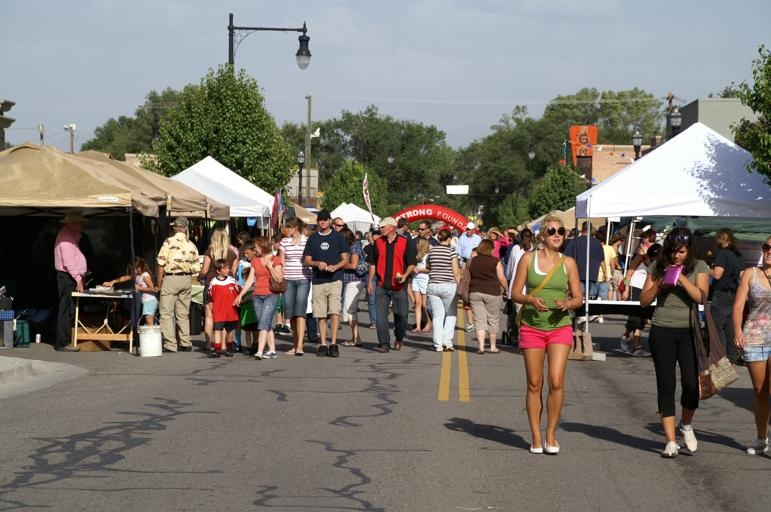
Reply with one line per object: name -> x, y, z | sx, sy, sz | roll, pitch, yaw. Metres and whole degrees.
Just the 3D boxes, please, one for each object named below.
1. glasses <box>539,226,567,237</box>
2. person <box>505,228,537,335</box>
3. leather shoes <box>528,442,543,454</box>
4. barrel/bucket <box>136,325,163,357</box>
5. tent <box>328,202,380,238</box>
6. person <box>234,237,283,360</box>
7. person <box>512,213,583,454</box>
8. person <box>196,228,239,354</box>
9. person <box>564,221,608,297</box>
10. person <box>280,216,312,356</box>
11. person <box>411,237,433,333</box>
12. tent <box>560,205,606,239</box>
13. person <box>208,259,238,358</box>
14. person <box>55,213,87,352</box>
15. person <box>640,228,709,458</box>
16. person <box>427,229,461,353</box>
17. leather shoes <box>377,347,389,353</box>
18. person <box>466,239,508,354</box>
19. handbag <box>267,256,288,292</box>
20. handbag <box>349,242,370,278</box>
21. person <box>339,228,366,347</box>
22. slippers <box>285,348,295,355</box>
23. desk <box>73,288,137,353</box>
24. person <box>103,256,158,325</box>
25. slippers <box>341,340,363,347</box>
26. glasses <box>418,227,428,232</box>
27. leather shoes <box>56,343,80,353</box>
glasses -> 2.017, -0.284, 11.904 | 0.180, 0.068, 0.186 | 3, -8, -27
person -> 2.579, 0.375, 19.983 | 0.633, 2.030, 0.684 | 15, 36, 25
leather shoes -> 1.803, 2.314, 11.666 | 0.093, 0.112, 0.281 | 0, -10, -2
barrel/bucket -> -4.285, 1.552, 17.671 | 0.508, 0.533, 0.504 | 0, -2, 0
tent -> -1.315, -1.369, 43.371 | 1.792, 0.843, 1.819 | 5, 6, 36
person -> -2.260, 0.772, 17.365 | 0.994, 2.237, 0.833 | 0, -1, -30
person -> 1.948, 1.018, 11.731 | 0.757, 2.683, 0.628 | 4, 6, 36
person -> -3.270, 0.641, 18.505 | 0.712, 2.287, 0.778 | 0, 0, 4
person -> 4.008, 0.117, 19.318 | 0.813, 1.878, 1.152 | 0, -1, -4
person -> -1.649, 0.562, 18.168 | 0.721, 2.299, 0.780 | 0, -1, 0
person -> 0.864, 0.679, 21.331 | 0.577, 1.989, 0.525 | 1, -1, -13
tent -> 5.190, -0.847, 25.685 | 1.348, 0.705, 1.362 | 0, 6, -5
person -> -3.022, 0.985, 17.896 | 0.590, 1.756, 0.716 | 1, 1, 45
person -> -5.904, 0.523, 18.213 | 0.538, 2.457, 0.652 | -1, 5, -19
person -> 3.567, 1.056, 11.970 | 0.950, 2.484, 1.096 | 0, 1, 15
person -> 1.104, 0.829, 18.845 | 0.693, 1.946, 0.646 | 0, 0, -3
leather shoes -> -0.030, 1.793, 18.614 | 0.203, 0.124, 0.283 | 1, 5, 0
person -> 2.032, 0.752, 18.787 | 0.869, 2.126, 0.641 | 1, 1, -6
handbag -> -1.947, 0.377, 17.459 | 0.325, 0.650, 0.206 | -3, 6, -44
handbag -> -0.529, 0.122, 19.454 | 0.416, 0.712, 0.887 | 1, 5, -2
person -> -0.673, 0.715, 19.312 | 0.638, 2.180, 0.616 | 0, 0, 5
slippers -> -1.770, 1.807, 18.192 | 0.214, 0.156, 0.075 | -1, -5, 8
desk -> -5.333, 1.269, 18.701 | 1.444, 1.519, 0.995 | -1, -1, -3
person -> -4.671, 0.650, 18.693 | 0.822, 1.811, 0.647 | 0, 0, -40
slippers -> -0.693, 1.796, 19.641 | 0.325, 0.082, 0.150 | 3, -2, 17
glasses -> 0.815, -0.544, 21.219 | 0.165, 0.100, 0.200 | 1, 5, 5
leather shoes -> -5.900, 1.723, 18.081 | 0.408, 0.176, 0.164 | -2, -2, 11
